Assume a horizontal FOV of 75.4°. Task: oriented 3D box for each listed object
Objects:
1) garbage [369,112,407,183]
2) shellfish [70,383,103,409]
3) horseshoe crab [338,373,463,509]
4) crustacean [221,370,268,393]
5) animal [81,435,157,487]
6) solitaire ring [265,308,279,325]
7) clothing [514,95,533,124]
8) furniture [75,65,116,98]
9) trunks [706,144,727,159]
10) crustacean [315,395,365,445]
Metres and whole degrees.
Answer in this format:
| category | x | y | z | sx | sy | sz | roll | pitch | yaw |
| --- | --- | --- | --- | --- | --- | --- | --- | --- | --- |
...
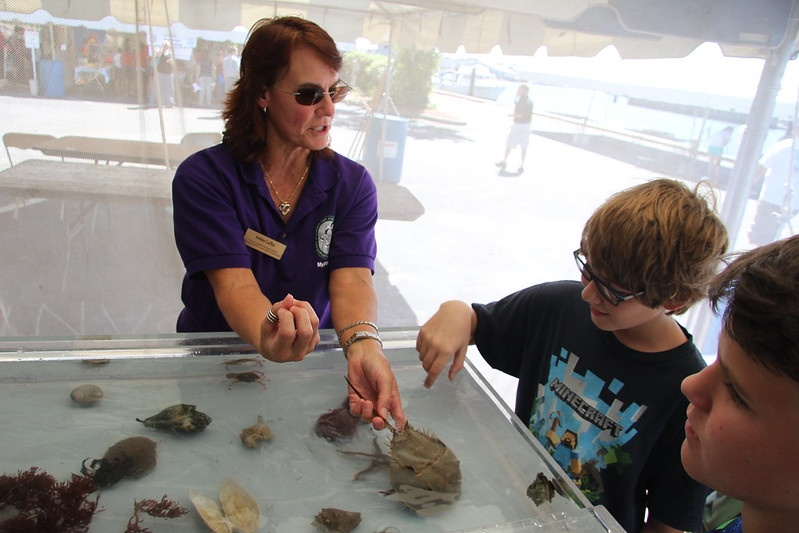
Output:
| category | x | y | z | sx | sy | sz | roll | pitch | yaw |
| --- | --- | --- | --- | --- | --- | --- | --- | --- | --- |
| garbage | -0.094 | -0.980 | 4.305 | 0.207 | 0.584 | 0.223 | -12 | 26 | -25 |
| shellfish | -1.036 | 0.426 | 1.719 | 0.073 | 0.027 | 0.074 | 38 | 41 | 20 |
| horseshoe crab | 0.021 | 0.599 | 1.770 | 0.352 | 0.126 | 0.450 | 7 | 22 | -11 |
| crustacean | -0.548 | 0.405 | 1.849 | 0.098 | 0.032 | 0.069 | 1 | 27 | -7 |
| animal | -0.825 | 0.579 | 1.616 | 0.179 | 0.117 | 0.208 | 4 | 10 | 2 |
| solitaire ring | -0.443 | 0.177 | 1.823 | 0.029 | 0.052 | 0.041 | -37 | 8 | -15 |
| clothing | 1.066 | -1.371 | 4.481 | 0.162 | 0.238 | 0.125 | -4 | 25 | -7 |
| furniture | -2.046 | -1.238 | 3.507 | 0.199 | 0.160 | 0.199 | 0 | 30 | -12 |
| trunks | 2.726 | -0.996 | 4.480 | 0.100 | 0.101 | 0.096 | -4 | 12 | -12 |
| crustacean | -0.204 | 0.515 | 1.735 | 0.112 | 0.099 | 0.096 | 3 | 10 | -36 |
